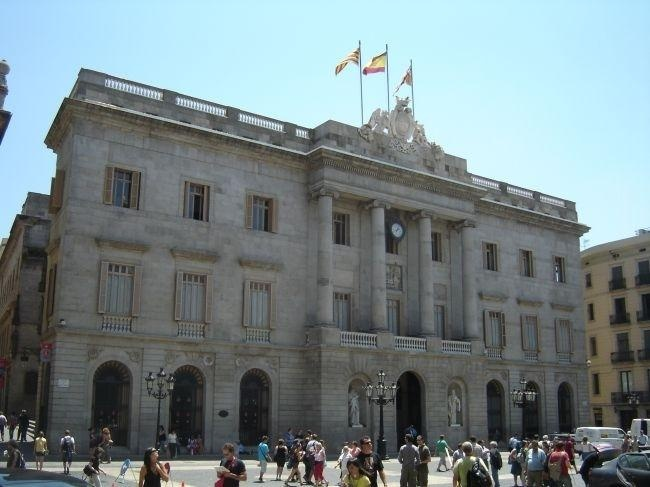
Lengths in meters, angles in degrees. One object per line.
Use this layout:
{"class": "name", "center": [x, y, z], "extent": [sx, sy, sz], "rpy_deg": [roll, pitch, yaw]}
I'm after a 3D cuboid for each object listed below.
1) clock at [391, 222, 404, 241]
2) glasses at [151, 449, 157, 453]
{"class": "clock", "center": [5.393, -0.957, 52.278], "extent": [1.054, 1.172, 0.314], "rpy_deg": [11, -11, -39]}
{"class": "glasses", "center": [-5.343, 6.477, 22.044], "extent": [0.072, 0.107, 0.101], "rpy_deg": [13, -12, 4]}
